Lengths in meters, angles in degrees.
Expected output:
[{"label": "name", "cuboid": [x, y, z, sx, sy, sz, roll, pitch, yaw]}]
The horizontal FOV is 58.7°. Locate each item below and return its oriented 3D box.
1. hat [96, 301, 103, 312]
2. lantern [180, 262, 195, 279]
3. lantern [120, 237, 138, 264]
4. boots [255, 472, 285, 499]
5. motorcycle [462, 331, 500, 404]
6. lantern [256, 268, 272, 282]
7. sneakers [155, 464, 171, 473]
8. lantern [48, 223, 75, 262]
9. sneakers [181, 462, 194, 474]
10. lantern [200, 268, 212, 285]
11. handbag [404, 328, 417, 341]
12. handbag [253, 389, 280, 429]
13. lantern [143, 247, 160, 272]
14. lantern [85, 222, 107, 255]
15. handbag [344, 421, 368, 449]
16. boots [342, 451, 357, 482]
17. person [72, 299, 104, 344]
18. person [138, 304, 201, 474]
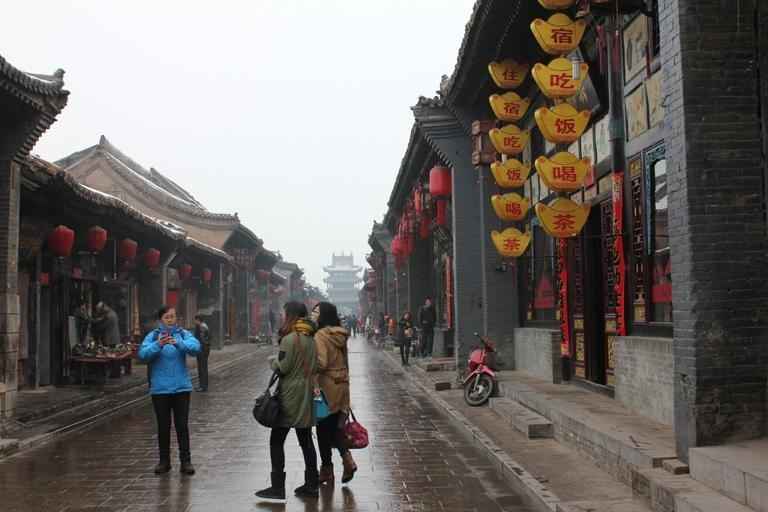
[{"label": "hat", "cuboid": [-6.946, 1.237, 16.690, 0.201, 0.238, 0.087, -11, 13, -37]}, {"label": "lantern", "cuboid": [-7.797, 0.569, 26.719, 0.522, 0.618, 0.517, -4, -5, 19]}, {"label": "lantern", "cuboid": [-6.938, -0.154, 18.604, 0.529, 0.651, 0.537, -4, 1, -12]}, {"label": "boots", "cuboid": [-1.285, 2.591, 7.720, 0.349, 0.301, 0.190, -1, -10, -6]}, {"label": "motorcycle", "cuboid": [1.878, 2.222, 13.367, 0.676, 1.398, 0.783, -3, -10, 9]}, {"label": "lantern", "cuboid": [-7.681, 1.134, 43.336, 0.704, 0.681, 0.759, -2, -17, -3]}, {"label": "sneakers", "cuboid": [-2.771, 2.667, 8.553, 0.190, 0.109, 0.121, 2, -11, -20]}, {"label": "lantern", "cuboid": [-6.726, -0.291, 14.122, 0.667, 0.863, 0.667, 0, -4, -30]}, {"label": "sneakers", "cuboid": [-2.451, 2.651, 8.535, 0.163, 0.141, 0.118, 2, -11, -18]}, {"label": "lantern", "cuboid": [-7.875, 0.782, 30.317, 0.463, 0.791, 1.835, 1, -11, -15]}, {"label": "handbag", "cuboid": [0.830, 2.422, 21.154, 0.335, 0.335, 0.592, -2, -9, -6]}, {"label": "handbag", "cuboid": [-1.343, 1.733, 7.747, 0.296, 0.429, 0.180, -7, -11, 27]}, {"label": "lantern", "cuboid": [-7.111, 0.048, 21.161, 0.547, 0.716, 0.550, -3, -1, -2]}, {"label": "lantern", "cuboid": [-6.580, -0.415, 15.789, 0.542, 0.638, 0.544, -6, -7, 1]}, {"label": "handbag", "cuboid": [-0.308, 2.155, 8.233, 0.342, 0.342, 0.223, -13, -10, 28]}, {"label": "boots", "cuboid": [-0.424, 2.525, 8.186, 0.177, 0.391, 0.431, -1, -10, -2]}, {"label": "person", "cuboid": [-7.290, 1.641, 16.795, 0.685, 1.006, 1.016, -7, -6, 33]}, {"label": "person", "cuboid": [-2.767, 1.692, 8.794, 0.722, 2.143, 0.584, 1, -11, -16]}]
